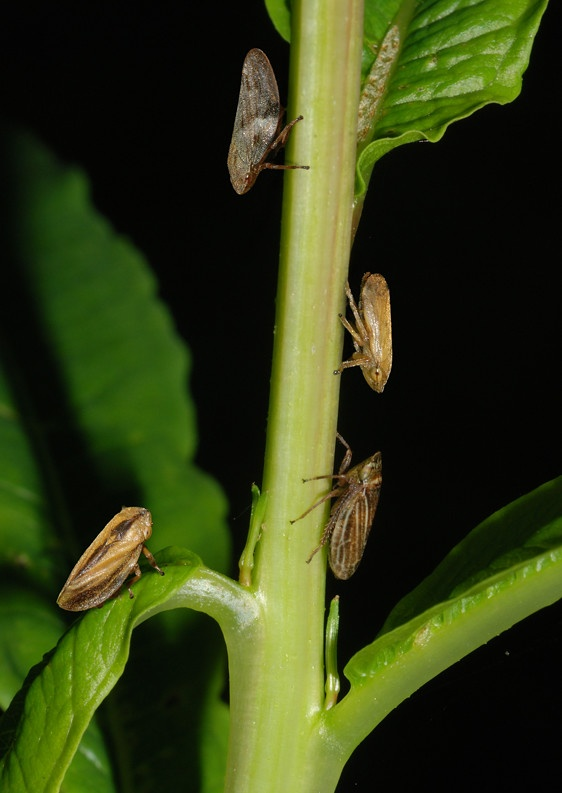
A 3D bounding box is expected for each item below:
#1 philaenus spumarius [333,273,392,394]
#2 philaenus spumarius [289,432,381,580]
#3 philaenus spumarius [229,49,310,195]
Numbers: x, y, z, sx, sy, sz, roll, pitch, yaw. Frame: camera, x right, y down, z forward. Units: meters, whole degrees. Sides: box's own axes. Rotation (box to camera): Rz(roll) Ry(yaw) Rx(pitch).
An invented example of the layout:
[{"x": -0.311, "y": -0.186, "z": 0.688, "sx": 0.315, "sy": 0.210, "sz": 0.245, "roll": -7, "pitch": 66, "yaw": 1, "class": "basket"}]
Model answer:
[{"x": 0.130, "y": -0.092, "z": 1.134, "sx": 0.048, "sy": 0.115, "sz": 0.161, "roll": 7, "pitch": -79, "yaw": 27, "class": "philaenus spumarius"}, {"x": 0.108, "y": 0.156, "z": 1.149, "sx": 0.147, "sy": 0.067, "sz": 0.237, "roll": 1, "pitch": -71, "yaw": -29, "class": "philaenus spumarius"}, {"x": -0.024, "y": -0.356, "z": 1.052, "sx": 0.057, "sy": 0.119, "sz": 0.182, "roll": -8, "pitch": -77, "yaw": -24, "class": "philaenus spumarius"}]
